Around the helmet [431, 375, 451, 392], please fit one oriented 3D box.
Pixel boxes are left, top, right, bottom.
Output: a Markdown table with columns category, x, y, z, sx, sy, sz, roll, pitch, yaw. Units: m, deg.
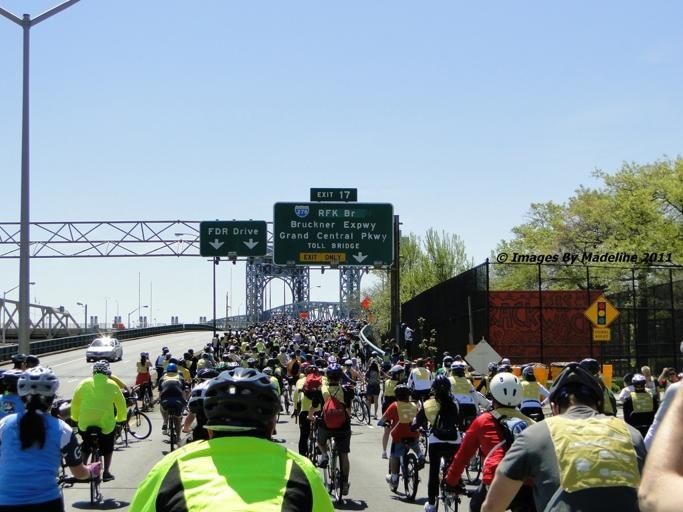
| category | x | y | z | sx | sy | sz | roll | pitch | yaw |
| --- | --- | --- | --- | --- | --- | --- | --- | --- | --- |
| helmet | 1.324 | 1.698 | 10.879 | 0.171 | 0.215 | 0.219 | 1 | 4 | 2 |

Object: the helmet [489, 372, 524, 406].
| category | x | y | z | sx | sy | sz | roll | pitch | yaw |
| --- | --- | --- | --- | --- | --- | --- | --- | --- | --- |
| helmet | 1.627 | 1.315 | 8.211 | 0.272 | 0.366 | 0.304 | 0 | -34 | -2 |

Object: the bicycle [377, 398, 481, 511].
| category | x | y | z | sx | sy | sz | roll | pitch | yaw |
| --- | --- | --- | --- | --- | --- | --- | --- | --- | --- |
| bicycle | 1.287 | 2.777 | 11.919 | 1.062 | 1.204 | 1.877 | 1 | -4 | -1 |

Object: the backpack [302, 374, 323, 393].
| category | x | y | z | sx | sy | sz | roll | pitch | yaw |
| --- | --- | --- | --- | --- | --- | --- | --- | --- | --- |
| backpack | -0.499 | 2.198 | 14.024 | 0.275 | 0.367 | 0.145 | 7 | -10 | -7 |

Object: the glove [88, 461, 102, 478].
| category | x | y | z | sx | sy | sz | roll | pitch | yaw |
| --- | --- | --- | --- | --- | --- | --- | --- | --- | --- |
| glove | -2.207 | 1.912 | 7.308 | 0.133 | 0.124 | 0.251 | 2 | -7 | -17 |

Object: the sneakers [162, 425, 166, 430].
| category | x | y | z | sx | sy | sz | roll | pitch | yaw |
| --- | --- | --- | --- | --- | --- | --- | --- | --- | --- |
| sneakers | -3.687 | 3.584 | 17.049 | 0.083 | 0.117 | 0.118 | 2 | -12 | -3 |

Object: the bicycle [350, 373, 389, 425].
| category | x | y | z | sx | sy | sz | roll | pitch | yaw |
| --- | --- | --- | --- | --- | --- | --- | --- | --- | --- |
| bicycle | 0.661 | 3.944 | 22.606 | 1.098 | 1.415 | 2.283 | 1 | -9 | -4 |

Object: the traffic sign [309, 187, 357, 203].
| category | x | y | z | sx | sy | sz | roll | pitch | yaw |
| --- | --- | --- | --- | --- | --- | --- | --- | --- | --- |
| traffic sign | -0.299 | -2.552 | 32.553 | 1.799 | 0.595 | 2.042 | 0 | -7 | -2 |

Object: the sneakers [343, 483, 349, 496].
| category | x | y | z | sx | sy | sz | roll | pitch | yaw |
| --- | --- | --- | --- | --- | --- | --- | --- | --- | --- |
| sneakers | 0.067 | 3.412 | 11.937 | 0.128 | 0.177 | 0.185 | 2 | -9 | 0 |

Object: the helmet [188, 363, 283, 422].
| category | x | y | z | sx | sy | sz | roll | pitch | yaw |
| --- | --- | --- | --- | --- | --- | --- | --- | --- | --- |
| helmet | -0.593 | 0.845 | 4.897 | 0.382 | 0.367 | 0.305 | 16 | -7 | -2 |

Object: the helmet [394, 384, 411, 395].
| category | x | y | z | sx | sy | sz | roll | pitch | yaw |
| --- | --- | --- | --- | --- | --- | --- | --- | --- | --- |
| helmet | 0.937 | 2.056 | 12.491 | 0.224 | 0.160 | 0.345 | -1 | -7 | 5 |

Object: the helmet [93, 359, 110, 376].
| category | x | y | z | sx | sy | sz | roll | pitch | yaw |
| --- | --- | --- | --- | --- | --- | --- | --- | --- | --- |
| helmet | -3.465 | 1.618 | 11.892 | 0.259 | 0.318 | 0.325 | -1 | 2 | -13 |

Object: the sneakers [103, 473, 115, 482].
| category | x | y | z | sx | sy | sz | roll | pitch | yaw |
| --- | --- | --- | --- | --- | --- | --- | --- | --- | --- |
| sneakers | -3.529 | 3.367 | 12.470 | 0.103 | 0.129 | 0.302 | 2 | 1 | 4 |

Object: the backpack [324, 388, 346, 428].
| category | x | y | z | sx | sy | sz | roll | pitch | yaw |
| --- | --- | --- | --- | --- | --- | --- | --- | --- | --- |
| backpack | -0.101 | 2.207 | 11.800 | 0.444 | 0.651 | 0.351 | -1 | -34 | -2 |

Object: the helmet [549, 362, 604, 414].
| category | x | y | z | sx | sy | sz | roll | pitch | yaw |
| --- | --- | --- | --- | --- | --- | --- | --- | --- | --- |
| helmet | 1.651 | 0.932 | 5.884 | 0.284 | 0.370 | 0.394 | -2 | 27 | 4 |
